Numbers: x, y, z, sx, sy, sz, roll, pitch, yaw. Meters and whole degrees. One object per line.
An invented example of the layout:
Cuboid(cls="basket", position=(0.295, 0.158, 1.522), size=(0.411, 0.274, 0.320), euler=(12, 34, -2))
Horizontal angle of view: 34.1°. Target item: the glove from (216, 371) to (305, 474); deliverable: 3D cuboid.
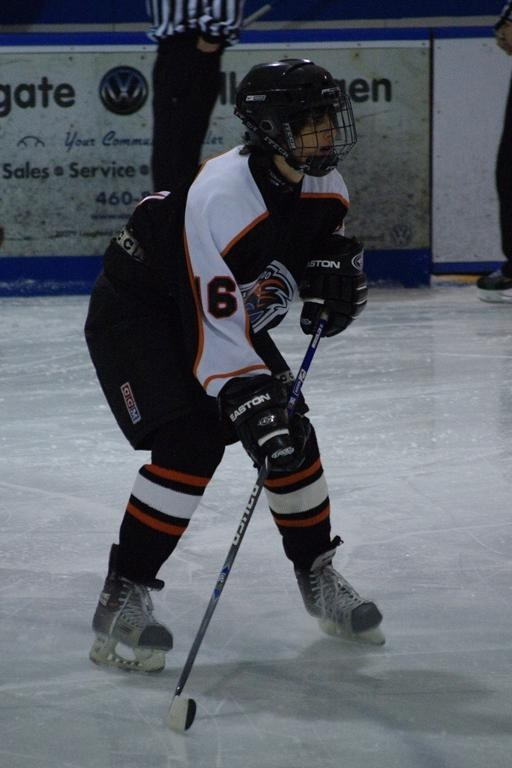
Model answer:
Cuboid(cls="glove", position=(0.011, 0.048, 1.148), size=(0.119, 0.131, 0.060), euler=(-20, -12, -22))

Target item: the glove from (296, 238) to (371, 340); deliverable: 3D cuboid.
Cuboid(cls="glove", position=(0.126, -0.156, 1.364), size=(0.113, 0.162, 0.130), euler=(-3, 14, -25))

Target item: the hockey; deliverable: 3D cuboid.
Cuboid(cls="hockey", position=(-0.016, 0.210, 1.248), size=(0.060, 0.663, 0.033), euler=(29, -3, 22))

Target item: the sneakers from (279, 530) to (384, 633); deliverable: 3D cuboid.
Cuboid(cls="sneakers", position=(0.121, 0.321, 1.317), size=(0.066, 0.131, 0.184), euler=(-8, 9, -32))

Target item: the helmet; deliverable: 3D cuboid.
Cuboid(cls="helmet", position=(0.046, -0.382, 1.205), size=(0.163, 0.163, 0.123), euler=(0, 17, 9))
